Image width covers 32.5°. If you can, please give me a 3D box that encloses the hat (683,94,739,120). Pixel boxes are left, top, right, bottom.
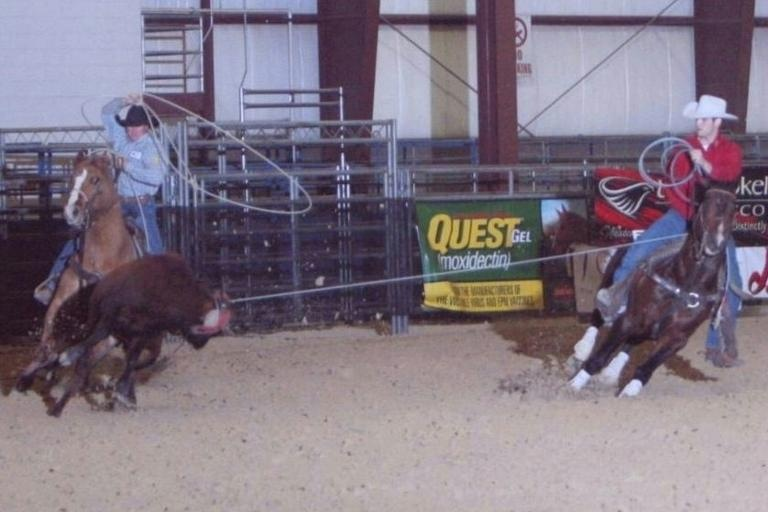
[{"bbox_3d":[4.171,-1.847,16.685,0.578,0.238,0.515,-1,2,-15],"label":"hat"}]
